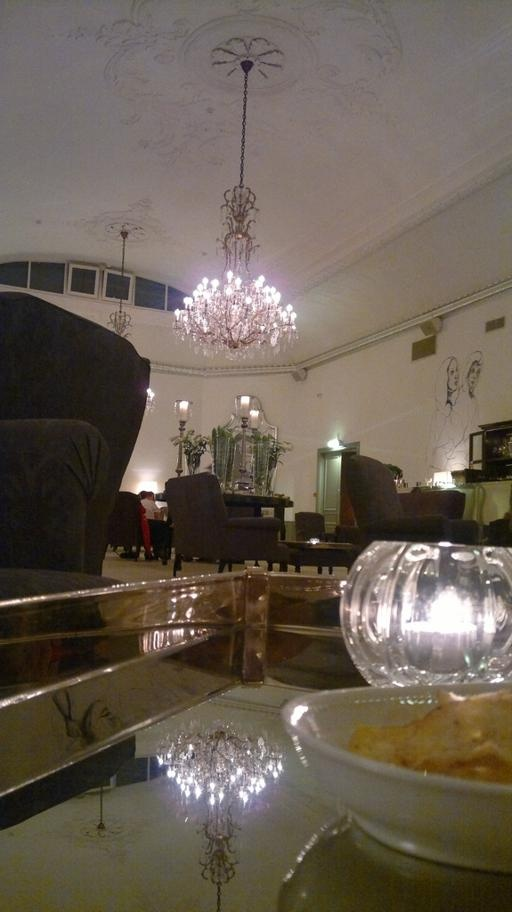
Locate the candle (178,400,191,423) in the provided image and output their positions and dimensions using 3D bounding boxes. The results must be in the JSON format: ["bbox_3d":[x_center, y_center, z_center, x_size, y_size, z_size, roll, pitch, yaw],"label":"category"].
[{"bbox_3d":[-0.952,-0.581,7.644,0.148,0.279,0.427,3,0,-8],"label":"candle"}]

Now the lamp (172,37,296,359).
[{"bbox_3d":[-0.202,-3.391,7.813,1.492,3.614,1.497,10,12,40],"label":"lamp"}]

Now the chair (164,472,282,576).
[{"bbox_3d":[-0.268,0.508,4.484,0.667,0.865,0.834,-1,-2,-39],"label":"chair"}]

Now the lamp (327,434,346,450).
[{"bbox_3d":[1.486,-0.237,10.888,0.108,0.255,0.475,3,0,-30],"label":"lamp"}]

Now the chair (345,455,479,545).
[{"bbox_3d":[1.316,0.315,4.662,0.744,1.050,0.708,-14,-16,29],"label":"chair"}]

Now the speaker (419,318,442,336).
[{"bbox_3d":[2.648,-1.959,8.845,0.230,0.238,0.064,13,21,42],"label":"speaker"}]

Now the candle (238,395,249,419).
[{"bbox_3d":[-0.119,-0.466,5.660,0.130,0.252,0.331,3,0,-3],"label":"candle"}]
